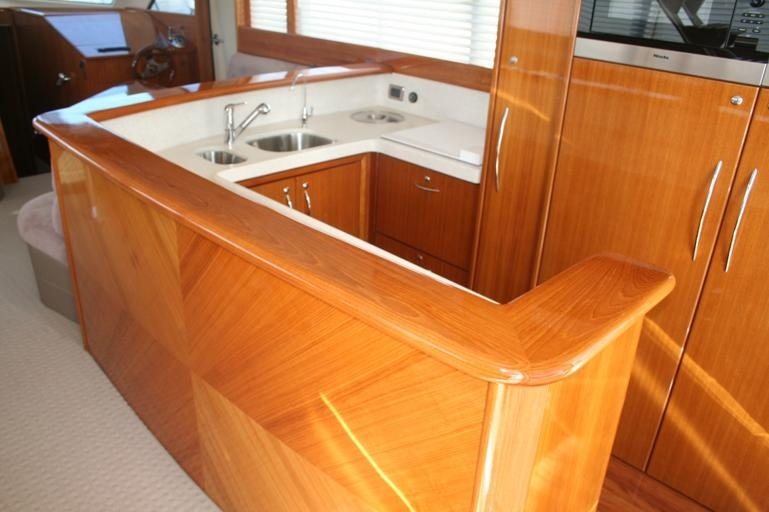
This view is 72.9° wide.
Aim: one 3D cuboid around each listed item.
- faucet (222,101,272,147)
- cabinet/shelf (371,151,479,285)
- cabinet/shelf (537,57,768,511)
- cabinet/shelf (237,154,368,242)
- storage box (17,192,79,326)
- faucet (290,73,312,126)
[{"bbox_3d":[-0.855,-0.836,3.203,0.075,0.227,0.385,26,39,23],"label":"faucet"},{"bbox_3d":[0.260,-0.244,2.932,0.660,0.567,0.350,32,43,30],"label":"cabinet/shelf"},{"bbox_3d":[1.123,0.060,2.479,0.365,1.795,1.014,-18,37,-29],"label":"cabinet/shelf"},{"bbox_3d":[-0.591,-0.345,3.388,0.810,0.683,0.420,-21,43,-30],"label":"cabinet/shelf"},{"bbox_3d":[-2.096,-0.038,3.256,0.276,0.764,0.751,-18,36,-29],"label":"storage box"},{"bbox_3d":[-0.548,-1.077,3.524,0.140,0.304,0.357,-1,30,-7],"label":"faucet"}]
